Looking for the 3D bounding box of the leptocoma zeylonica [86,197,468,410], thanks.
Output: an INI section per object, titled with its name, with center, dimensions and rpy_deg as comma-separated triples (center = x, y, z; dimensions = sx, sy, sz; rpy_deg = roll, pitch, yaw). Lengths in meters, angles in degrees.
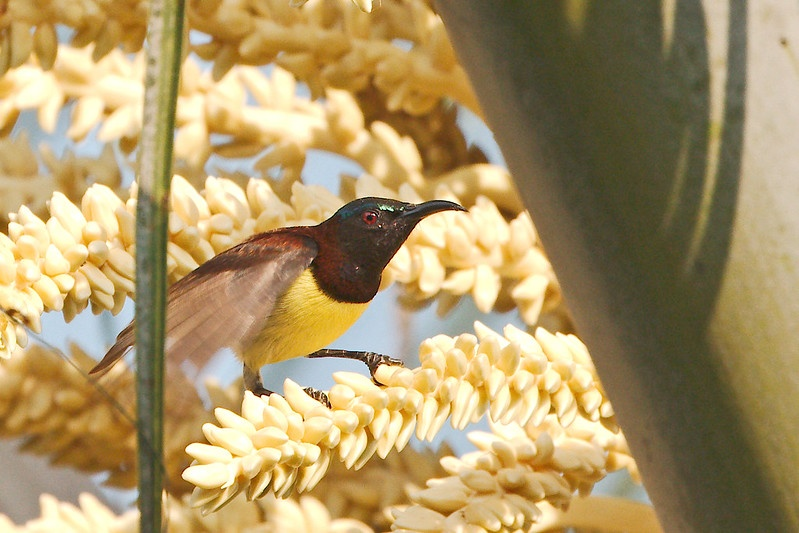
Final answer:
[leptocoma zeylonica]
center = -0.093, 0.013, 0.969
dimensions = 0.223, 0.127, 0.149
rpy_deg = 6, 2, 14
